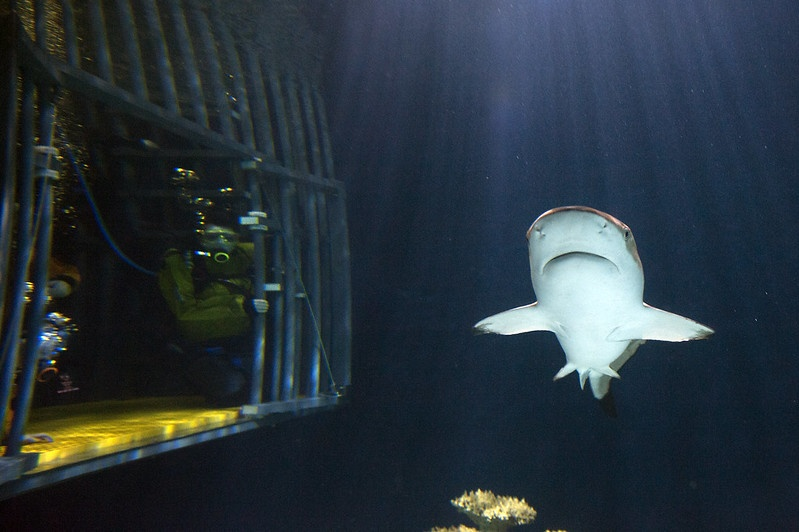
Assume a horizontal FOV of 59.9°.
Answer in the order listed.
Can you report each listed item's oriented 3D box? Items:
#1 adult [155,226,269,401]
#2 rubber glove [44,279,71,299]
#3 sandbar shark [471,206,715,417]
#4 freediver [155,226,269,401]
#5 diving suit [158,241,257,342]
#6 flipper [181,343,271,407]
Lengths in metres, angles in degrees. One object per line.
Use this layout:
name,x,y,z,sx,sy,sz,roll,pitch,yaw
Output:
adult,-2.466,0.618,8.829,1.488,2.282,0.904,3,-12,-8
rubber glove,-4.469,0.338,9.152,0.266,0.201,0.507,5,-18,-24
sandbar shark,2.416,0.585,8.691,2.098,0.802,2.904,-3,-40,22
freediver,-2.583,0.748,9.812,1.488,2.282,0.904,3,-12,-8
diving suit,-2.521,0.570,9.722,1.351,0.435,1.322,-15,28,-36
flipper,-2.348,1.365,9.049,0.874,0.826,0.211,-21,-9,7
